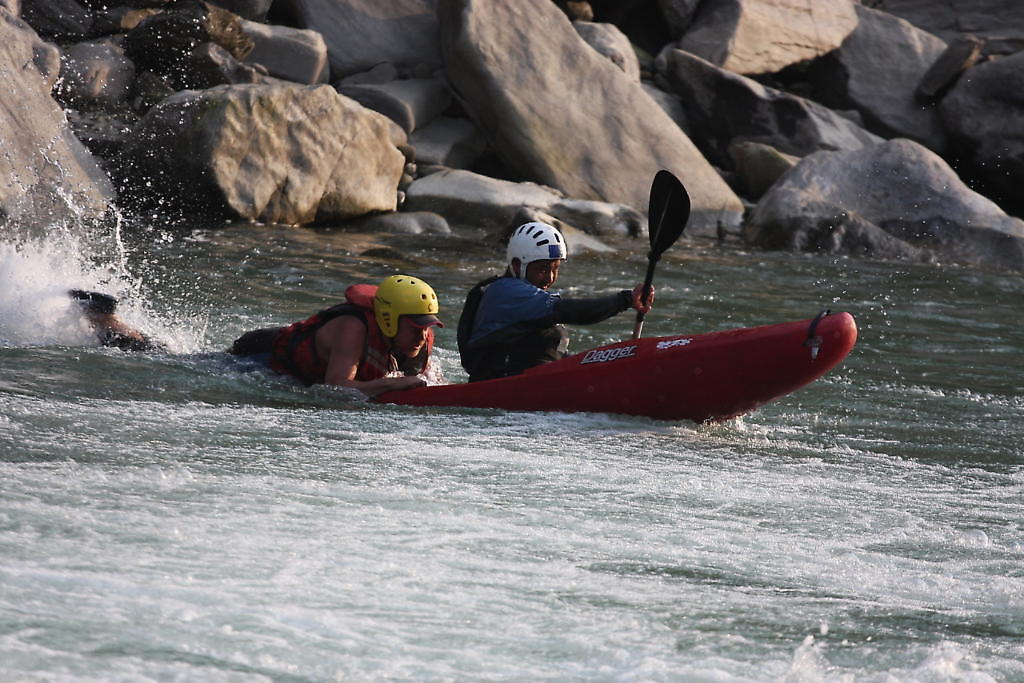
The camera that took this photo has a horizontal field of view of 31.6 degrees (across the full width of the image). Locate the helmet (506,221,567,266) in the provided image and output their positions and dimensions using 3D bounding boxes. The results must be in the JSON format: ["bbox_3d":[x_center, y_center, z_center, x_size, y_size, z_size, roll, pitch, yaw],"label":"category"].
[{"bbox_3d":[0.344,-1.021,18.685,0.460,0.390,0.492,-10,22,-9],"label":"helmet"}]
